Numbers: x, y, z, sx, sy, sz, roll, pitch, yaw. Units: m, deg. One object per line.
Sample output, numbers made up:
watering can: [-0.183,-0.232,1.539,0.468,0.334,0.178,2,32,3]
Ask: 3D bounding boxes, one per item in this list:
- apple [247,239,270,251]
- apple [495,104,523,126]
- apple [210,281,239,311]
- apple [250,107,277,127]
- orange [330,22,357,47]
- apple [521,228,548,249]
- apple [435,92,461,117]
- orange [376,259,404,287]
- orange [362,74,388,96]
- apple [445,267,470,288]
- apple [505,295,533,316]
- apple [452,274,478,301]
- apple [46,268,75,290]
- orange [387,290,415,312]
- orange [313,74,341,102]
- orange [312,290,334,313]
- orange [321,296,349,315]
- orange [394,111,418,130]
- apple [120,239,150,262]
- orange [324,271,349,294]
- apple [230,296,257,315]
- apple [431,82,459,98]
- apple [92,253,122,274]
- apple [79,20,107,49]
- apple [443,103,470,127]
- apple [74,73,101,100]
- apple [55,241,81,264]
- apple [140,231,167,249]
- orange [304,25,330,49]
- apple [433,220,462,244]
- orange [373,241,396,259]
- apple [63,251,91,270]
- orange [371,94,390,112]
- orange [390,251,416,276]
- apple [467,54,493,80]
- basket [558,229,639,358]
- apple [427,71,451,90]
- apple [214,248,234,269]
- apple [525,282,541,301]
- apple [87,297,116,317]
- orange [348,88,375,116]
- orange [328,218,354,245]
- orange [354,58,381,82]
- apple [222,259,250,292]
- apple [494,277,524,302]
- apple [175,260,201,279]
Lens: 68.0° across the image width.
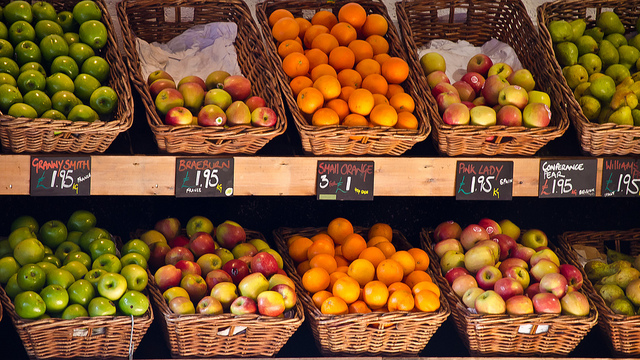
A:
apple: [-0.320,0.336,2.504,0.078,0.064,0.063,4,14,-43]
apple: [0.927,-0.309,2.362,0.104,0.127,0.104,9,-13,-2]
apple: [-0.424,0.520,2.204,0.122,0.118,0.118,34,25,-29]
apple: [-0.256,-0.288,2.179,0.091,0.092,0.087,2,0,-9]
orange: [0.132,-0.775,2.566,0.128,0.126,0.126,19,33,-4]
apple: [1.193,0.314,2.665,0.106,0.106,0.103,-38,-8,9]
apple: [0.636,-0.376,2.359,0.113,0.133,0.112,-1,10,3]
orange: [0.340,0.443,2.358,0.121,0.121,0.118,-12,19,-32]
orange: [0.271,-0.481,2.413,0.105,0.123,0.104,6,3,-30]
apple: [0.683,0.475,2.406,0.095,0.115,0.093,16,-44,-20]
apple: [0.931,0.576,2.220,0.091,0.091,0.094,-7,-9,29]
apple: [0.720,0.516,2.396,0.108,0.100,0.112,-23,37,12]
apple: [-1.159,0.438,2.117,0.086,0.090,0.105,29,-22,-3]
orange: [0.380,0.553,2.246,0.098,0.099,0.098,23,-9,-2]
orange: [0.049,-0.442,2.355,0.123,0.117,0.145,10,44,-7]
orange: [0.012,0.549,2.192,0.080,0.096,0.082,3,46,15]
orange: [0.068,0.575,2.172,0.087,0.086,0.087,2,-22,20]
orange: [0.408,-0.277,2.232,0.084,0.104,0.085,6,-23,11]
apple: [-0.888,0.333,2.335,0.111,0.112,0.132,13,-22,-8]
orange: [0.076,0.477,2.256,0.093,0.107,0.091,2,4,-23]
apple: [-0.344,0.564,2.129,0.081,0.082,0.077,-7,-39,16]
apple: [0.642,-0.470,2.441,0.097,0.093,0.091,-2,31,-7]
apple: [-0.990,0.386,2.205,0.098,0.101,0.098,-6,15,-2]
apple: [-1.115,-0.709,2.315,0.090,0.107,0.089,-35,-34,-2]
apple: [0.663,-0.306,2.332,0.110,0.132,0.113,-12,-35,27]
apple: [-1.088,-0.431,2.205,0.114,0.086,0.086,29,1,42]
apple: [-1.230,0.333,2.325,0.099,0.099,0.094,25,0,-25]
apple: [-0.857,0.294,2.432,0.087,0.085,0.103,-16,45,-35]
orange: [-0.027,-0.772,2.578,0.126,0.150,0.128,3,-3,9]
apple: [0.712,0.282,2.707,0.125,0.152,0.123,10,-2,-24]
orange: [0.331,0.364,2.471,0.085,0.100,0.080,16,-26,-36]
apple: [-1.142,0.374,2.239,0.089,0.092,0.086,5,-16,-9]
orange: [0.294,-0.382,2.314,0.062,0.075,0.060,7,0,-36]
orange: [0.438,0.421,2.442,0.126,0.151,0.123,-3,-2,-19]
apple: [0.921,-0.654,2.717,0.114,0.114,0.117,-12,-49,44]
basket: [1.503,0.593,2.568,0.420,0.227,0.623,0,32,-2]
apple: [0.621,-0.540,2.527,0.101,0.107,0.105,-2,-24,-8]
apple: [-0.480,0.397,2.378,0.074,0.089,0.072,2,-3,-14]
apple: [1.043,0.537,2.321,0.061,0.085,0.065,21,-33,20]
apple: [-0.959,0.555,2.073,0.089,0.092,0.088,-19,3,39]
orange: [0.190,-0.376,2.309,0.119,0.119,0.142,-28,28,16]
orange: [0.108,0.275,2.614,0.143,0.143,0.143,2,1,-20]
orange: [0.244,-0.568,2.428,0.105,0.123,0.107,4,23,-2]
apple: [-0.410,0.465,2.285,0.122,0.149,0.121,2,-8,-13]
apple: [0.912,0.508,2.282,0.103,0.108,0.109,7,0,34]
apple: [-0.630,0.417,2.261,0.088,0.085,0.086,4,8,-45]
